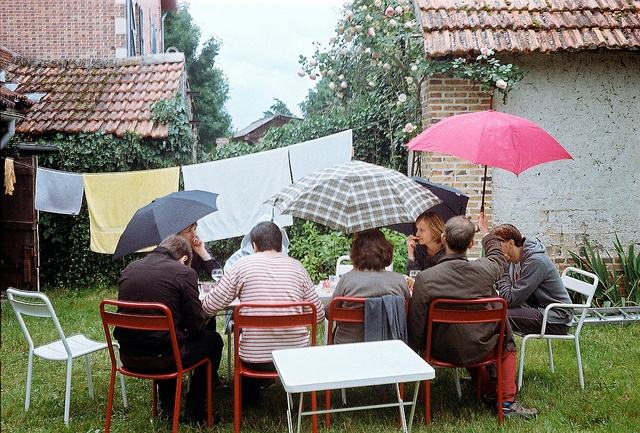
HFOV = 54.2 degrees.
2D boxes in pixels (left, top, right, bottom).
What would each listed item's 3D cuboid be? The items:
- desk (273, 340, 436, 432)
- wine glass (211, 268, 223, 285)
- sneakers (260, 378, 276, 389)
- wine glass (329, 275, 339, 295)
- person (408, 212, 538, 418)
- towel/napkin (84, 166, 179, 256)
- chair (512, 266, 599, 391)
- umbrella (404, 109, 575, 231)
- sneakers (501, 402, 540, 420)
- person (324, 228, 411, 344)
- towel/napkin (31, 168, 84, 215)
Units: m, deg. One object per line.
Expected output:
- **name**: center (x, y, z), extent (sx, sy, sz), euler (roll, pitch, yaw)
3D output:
- **desk**: center (0.306, 1.508, 6.216), extent (1.622, 0.882, 0.894), euler (-3, 18, -15)
- **wine glass**: center (-1.267, 0.734, 7.677), extent (0.172, 0.180, 0.177), euler (7, -17, -18)
- **sneakers**: center (-0.650, 2.060, 7.642), extent (0.237, 0.098, 0.084), euler (12, -12, -39)
- **wine glass**: center (0.164, 0.827, 7.807), extent (0.144, 0.287, 0.149), euler (1, 1, -6)
- **person**: center (1.846, 1.177, 7.382), extent (1.536, 2.371, 1.067), euler (-14, 11, -35)
- **towel/napkin**: center (-3.525, -0.020, 11.191), extent (0.091, 1.321, 1.528), euler (-6, -3, 35)
- **chair**: center (2.978, 1.483, 7.839), extent (0.923, 1.442, 0.936), euler (2, -8, 15)
- **umbrella**: center (1.961, -0.807, 7.623), extent (1.447, 0.947, 1.523), euler (6, 26, 5)
- **sneakers**: center (2.244, 2.196, 7.127), extent (0.443, 0.203, 0.169), euler (-1, 0, -5)
- **person**: center (0.572, 0.915, 7.262), extent (1.006, 1.545, 1.039), euler (-2, -11, 26)
- **towel/napkin**: center (-4.477, -0.426, 10.578), extent (0.689, 0.711, 0.071), euler (7, 6, -10)
